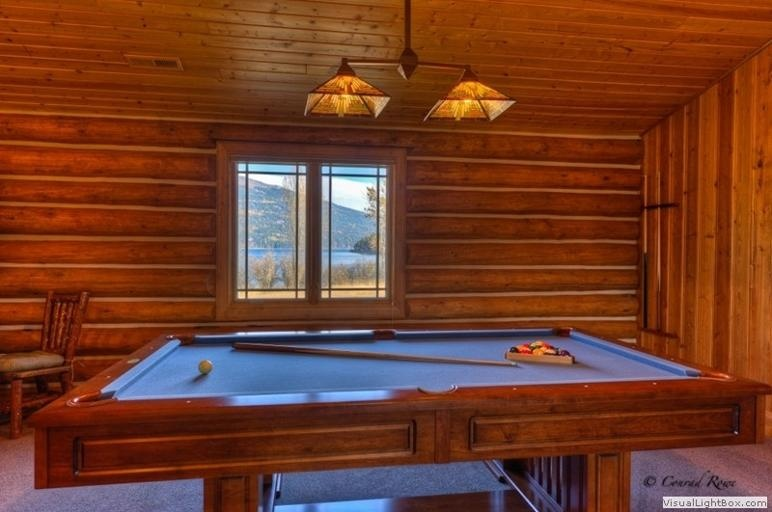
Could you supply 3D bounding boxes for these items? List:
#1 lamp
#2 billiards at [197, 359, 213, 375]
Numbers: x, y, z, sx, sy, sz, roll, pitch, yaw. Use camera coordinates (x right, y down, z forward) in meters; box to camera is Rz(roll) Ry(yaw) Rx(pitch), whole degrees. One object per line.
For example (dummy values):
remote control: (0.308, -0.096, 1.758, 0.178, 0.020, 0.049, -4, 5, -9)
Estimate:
lamp: (0.162, -1.472, 4.408, 1.471, 0.935, 0.314, 0, -2, -9)
billiards: (-1.273, 0.786, 4.236, 0.080, 0.067, 0.071, 33, -52, -10)
